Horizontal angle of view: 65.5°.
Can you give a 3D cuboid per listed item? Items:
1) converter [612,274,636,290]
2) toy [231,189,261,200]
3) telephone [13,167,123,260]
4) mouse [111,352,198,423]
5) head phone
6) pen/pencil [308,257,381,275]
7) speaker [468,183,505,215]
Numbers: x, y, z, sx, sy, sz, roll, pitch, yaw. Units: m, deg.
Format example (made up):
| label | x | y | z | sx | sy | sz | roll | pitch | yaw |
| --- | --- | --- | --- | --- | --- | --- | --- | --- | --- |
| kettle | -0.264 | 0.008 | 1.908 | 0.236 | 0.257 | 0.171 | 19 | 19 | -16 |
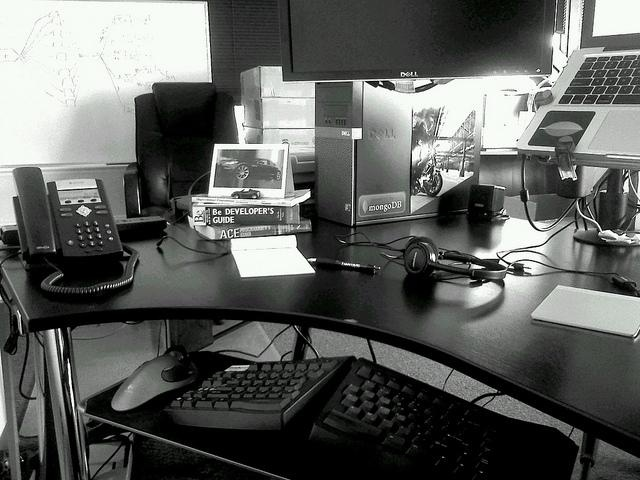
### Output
| label | x | y | z | sx | sy | sz | roll | pitch | yaw |
| --- | --- | --- | --- | --- | --- | --- | --- | --- | --- |
| converter | 0.634 | 0.086 | 1.032 | 0.025 | 0.010 | 0.041 | -4 | 16 | -28 |
| toy | -0.210 | -0.131 | 1.431 | 0.062 | 0.020 | 0.038 | 4 | 15 | 2 |
| telephone | -0.595 | -0.060 | 1.182 | 0.203 | 0.099 | 0.263 | -20 | 52 | -33 |
| mouse | -0.360 | 0.309 | 1.080 | 0.096 | 0.056 | 0.147 | 9 | 21 | 43 |
| head phone | 0.297 | 0.052 | 1.117 | 0.146 | 0.048 | 0.125 | 11 | 12 | 10 |
| pen/pencil | 0.056 | 0.062 | 1.167 | 0.157 | 0.023 | 0.017 | 3 | 50 | 21 |
| speaker | 0.530 | -0.136 | 1.613 | 0.098 | 0.096 | 0.102 | 12 | 13 | 43 |
